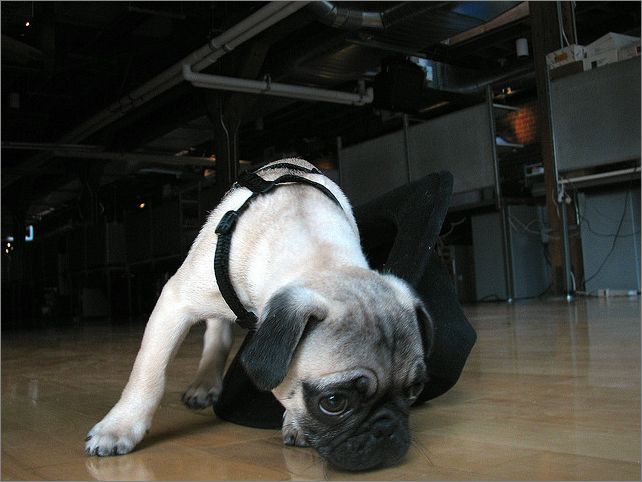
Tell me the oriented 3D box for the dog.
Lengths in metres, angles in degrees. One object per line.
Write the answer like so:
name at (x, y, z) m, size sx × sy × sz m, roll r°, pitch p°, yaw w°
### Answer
dog at (-0.212, 0.122, 1.575) m, size 0.769 × 0.968 × 0.807 m, roll 4°, pitch -7°, yaw -31°
